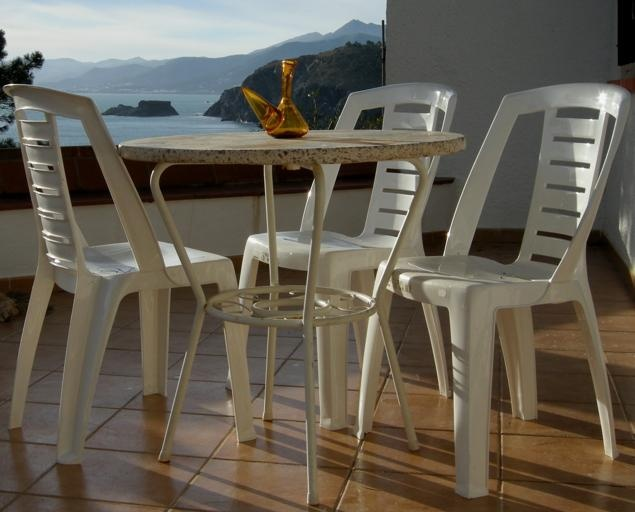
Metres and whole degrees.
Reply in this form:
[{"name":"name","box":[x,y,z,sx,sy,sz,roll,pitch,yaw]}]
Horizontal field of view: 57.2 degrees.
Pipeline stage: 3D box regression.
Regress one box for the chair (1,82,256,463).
[{"name":"chair","box":[-0.779,-0.032,2.498,1.021,1.743,1.021,-4,10,-31]}]

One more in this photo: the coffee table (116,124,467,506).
[{"name":"coffee table","box":[-0.094,0.130,1.844,1.024,0.984,0.971,5,9,39]}]
